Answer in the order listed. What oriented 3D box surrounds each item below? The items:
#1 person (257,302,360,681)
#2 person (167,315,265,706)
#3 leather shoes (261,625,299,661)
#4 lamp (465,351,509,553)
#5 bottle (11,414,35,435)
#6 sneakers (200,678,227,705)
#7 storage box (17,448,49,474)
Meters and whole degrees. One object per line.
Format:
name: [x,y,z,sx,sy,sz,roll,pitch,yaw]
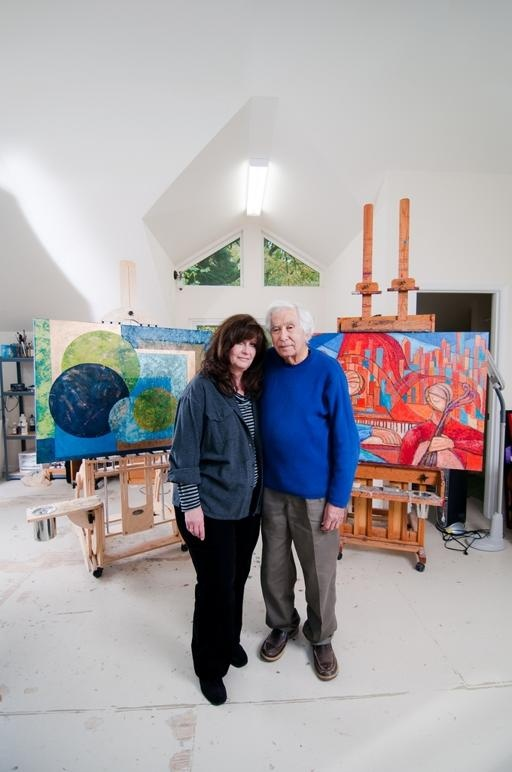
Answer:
person: [0.181,0.430,2.306,0.297,1.480,0.360,-2,3,-32]
person: [-0.134,0.427,2.190,0.365,1.379,0.212,-1,3,-9]
leather shoes: [0.103,1.088,2.472,0.068,0.079,0.200,0,-2,28]
lamp: [1.404,0.376,3.471,0.168,1.107,0.554,1,3,29]
bottle: [-1.976,0.341,5.060,0.215,0.233,0.150,1,-1,9]
sneakers: [-0.166,1.155,2.256,0.065,0.124,0.054,-8,-33,-38]
storage box: [-1.847,0.655,4.861,0.306,0.199,0.116,1,3,28]
